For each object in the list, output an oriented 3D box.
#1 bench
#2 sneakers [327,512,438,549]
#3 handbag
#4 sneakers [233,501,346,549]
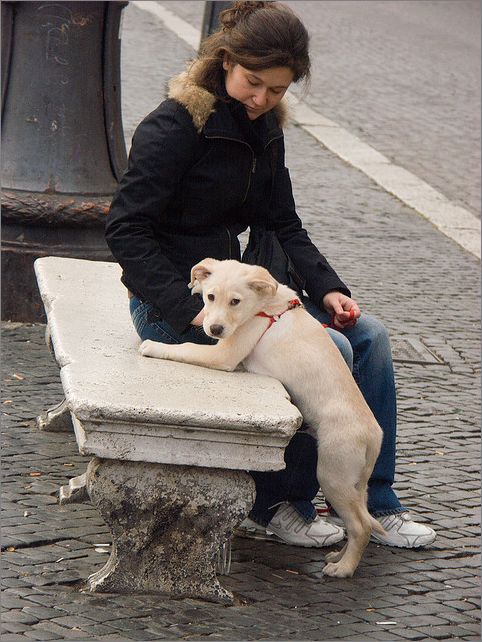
[{"bbox_3d":[-0.201,0.484,4.474,0.835,0.715,1.969,4,9,2],"label":"bench"},{"bbox_3d":[0.588,0.831,4.370,0.333,0.124,0.105,1,6,19],"label":"sneakers"},{"bbox_3d":[0.121,-0.230,4.423,0.137,0.280,0.231,-13,-2,-5],"label":"handbag"},{"bbox_3d":[0.223,0.826,4.421,0.498,0.183,0.163,1,5,8],"label":"sneakers"}]
